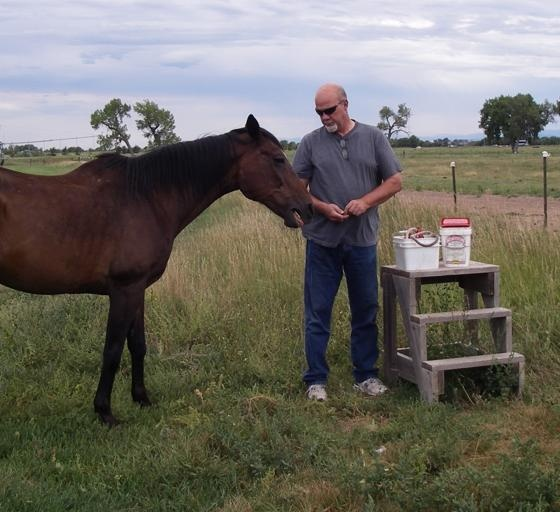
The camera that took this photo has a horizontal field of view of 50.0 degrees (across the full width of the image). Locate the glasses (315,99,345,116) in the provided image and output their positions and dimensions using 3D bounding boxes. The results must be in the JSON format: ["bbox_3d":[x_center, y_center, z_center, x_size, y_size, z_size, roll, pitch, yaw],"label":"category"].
[{"bbox_3d":[0.482,-1.392,5.619,0.279,0.146,0.108,-1,6,-1],"label":"glasses"}]

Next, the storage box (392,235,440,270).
[{"bbox_3d":[1.326,-0.038,5.783,0.352,0.297,0.305,-1,6,-11],"label":"storage box"}]

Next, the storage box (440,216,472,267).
[{"bbox_3d":[1.727,-0.200,5.855,0.311,0.548,0.319,2,27,22],"label":"storage box"}]

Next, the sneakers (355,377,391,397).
[{"bbox_3d":[0.916,1.321,5.982,0.149,0.122,0.256,-3,1,-39],"label":"sneakers"}]
